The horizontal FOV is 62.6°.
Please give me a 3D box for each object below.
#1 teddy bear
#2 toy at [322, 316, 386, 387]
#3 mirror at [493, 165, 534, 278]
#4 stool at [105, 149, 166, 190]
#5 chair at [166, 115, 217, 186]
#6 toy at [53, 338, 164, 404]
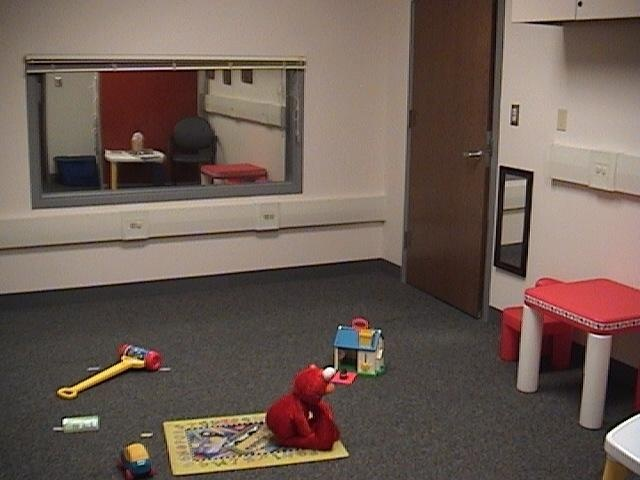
[{"bbox_3d":[-0.098,0.830,2.798,0.369,0.448,0.351,-9,26,-14],"label":"teddy bear"},{"bbox_3d":[0.261,0.715,3.403,0.336,0.287,0.363,3,16,8],"label":"toy"},{"bbox_3d":[1.416,-0.131,3.844,0.018,0.743,0.324,-1,8,-21],"label":"mirror"},{"bbox_3d":[-1.577,-0.605,4.472,0.352,0.254,0.295,-1,7,-14],"label":"stool"},{"bbox_3d":[-1.108,-0.805,4.723,0.454,0.728,0.508,-2,30,-11],"label":"chair"},{"bbox_3d":[-1.330,0.837,3.274,0.225,0.138,0.512,16,24,31],"label":"toy"}]
